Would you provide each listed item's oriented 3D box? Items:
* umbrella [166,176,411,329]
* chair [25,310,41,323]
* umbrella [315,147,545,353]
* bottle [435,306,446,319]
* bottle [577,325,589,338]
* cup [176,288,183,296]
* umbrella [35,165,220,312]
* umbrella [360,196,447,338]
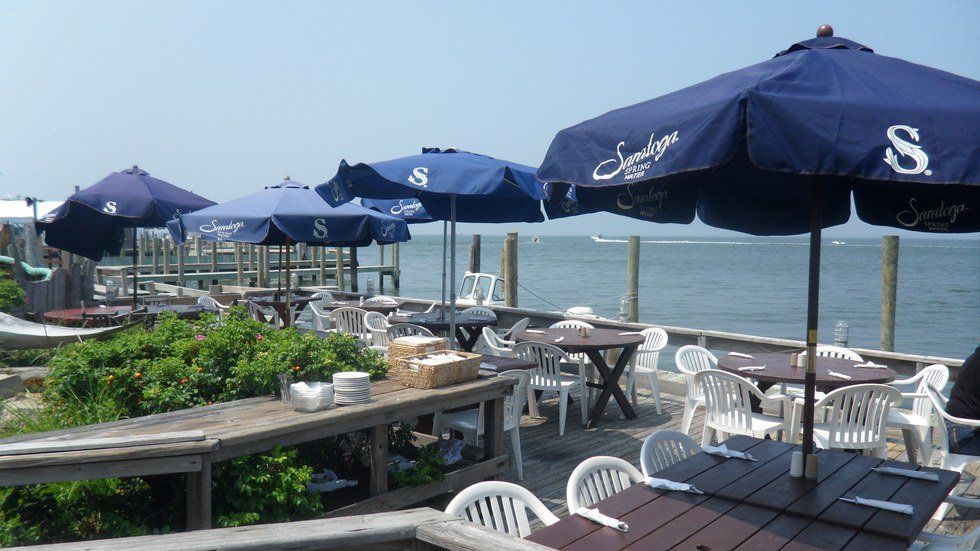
[{"bbox_3d":[-3.794,-0.299,16.691,3.446,2.170,3.327,1,8,-6],"label":"umbrella"},{"bbox_3d":[-10.138,0.845,18.660,0.135,0.233,0.367,1,6,23],"label":"chair"},{"bbox_3d":[-0.509,-0.207,13.995,3.894,3.146,3.415,-1,3,-41],"label":"umbrella"},{"bbox_3d":[-0.998,0.707,16.662,0.278,0.241,0.265,0,-2,-9],"label":"bottle"},{"bbox_3d":[1.666,1.009,15.365,0.180,0.128,0.148,0,1,40],"label":"bottle"},{"bbox_3d":[-8.339,0.400,22.677,0.194,0.207,0.189,0,-2,0],"label":"cup"},{"bbox_3d":[-7.332,-0.894,17.306,3.100,2.432,2.974,3,-7,-30],"label":"umbrella"},{"bbox_3d":[-1.910,-0.637,17.084,1.705,2.011,1.820,-5,-8,2],"label":"umbrella"}]
